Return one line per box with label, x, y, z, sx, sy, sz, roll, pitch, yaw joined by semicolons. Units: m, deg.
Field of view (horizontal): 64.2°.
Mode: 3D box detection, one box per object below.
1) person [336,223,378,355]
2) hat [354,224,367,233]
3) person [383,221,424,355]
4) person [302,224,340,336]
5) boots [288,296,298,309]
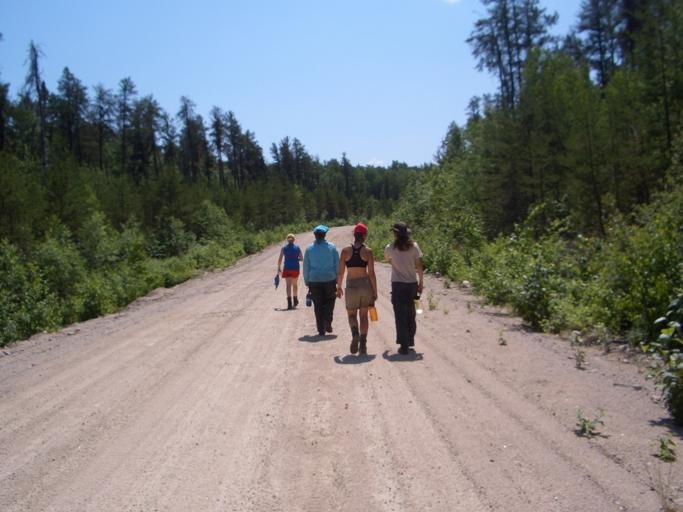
person;0.348;0.720;12.293;0.873;2.890;0.769;-1;6;2
hat;0.431;-0.606;12.027;0.232;0.223;0.420;8;3;5
person;1.425;0.691;12.251;0.809;2.865;0.713;1;6;17
person;-0.478;0.753;13.437;0.807;2.466;0.277;-1;6;3
boots;-1.521;1.445;17.189;0.175;0.378;0.462;0;17;12
